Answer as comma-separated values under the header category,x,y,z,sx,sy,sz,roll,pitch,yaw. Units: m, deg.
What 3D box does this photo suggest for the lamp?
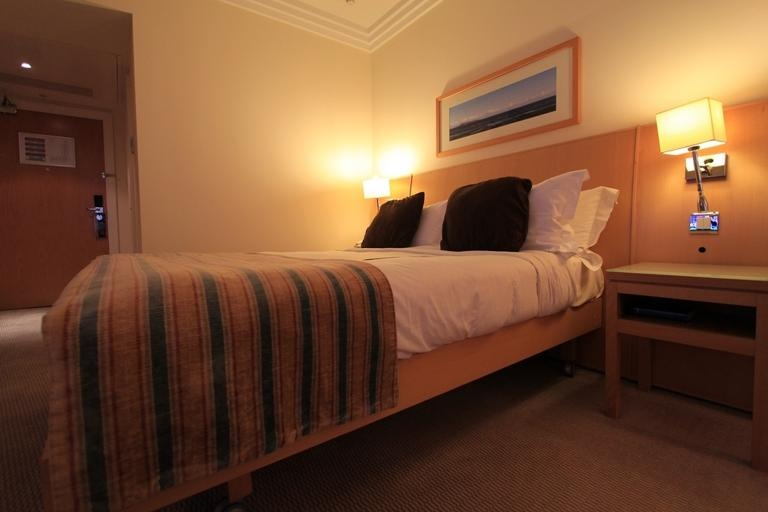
category,x,y,z,sx,sy,sz,roll,pitch,yaw
lamp,1.918,-0.543,3.115,0.381,0.808,0.240,0,7,-7

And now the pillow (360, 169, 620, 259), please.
category,x,y,z,sx,sy,sz,roll,pitch,yaw
pillow,0.896,-0.319,3.668,1.436,0.568,0.571,5,8,33
